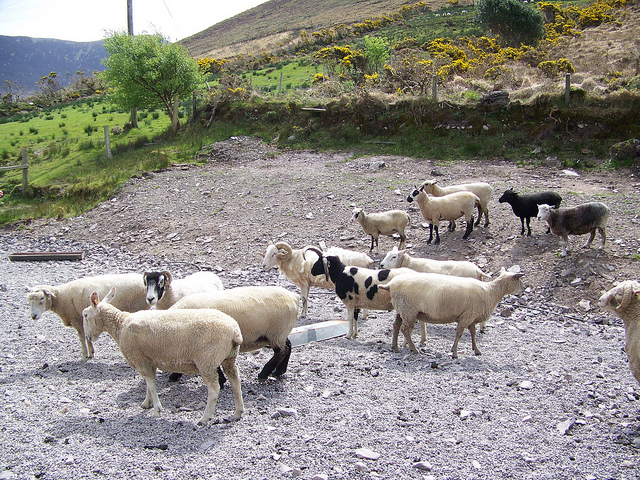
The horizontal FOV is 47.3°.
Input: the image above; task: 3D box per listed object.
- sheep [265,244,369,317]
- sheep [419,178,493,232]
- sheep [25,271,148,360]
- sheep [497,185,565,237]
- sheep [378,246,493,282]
[{"bbox_3d":[0.045,1.130,19.934,3.202,1.940,0.984,3,6,9],"label":"sheep"},{"bbox_3d":[4.341,-1.130,23.560,2.630,1.690,0.714,-4,15,-5],"label":"sheep"},{"bbox_3d":[-5.861,1.832,18.280,3.646,2.355,1.712,-1,8,-4],"label":"sheep"},{"bbox_3d":[6.482,-0.895,22.204,2.021,1.496,0.639,-3,7,-5],"label":"sheep"},{"bbox_3d":[3.258,0.690,19.855,1.632,0.843,0.405,7,33,10],"label":"sheep"}]
